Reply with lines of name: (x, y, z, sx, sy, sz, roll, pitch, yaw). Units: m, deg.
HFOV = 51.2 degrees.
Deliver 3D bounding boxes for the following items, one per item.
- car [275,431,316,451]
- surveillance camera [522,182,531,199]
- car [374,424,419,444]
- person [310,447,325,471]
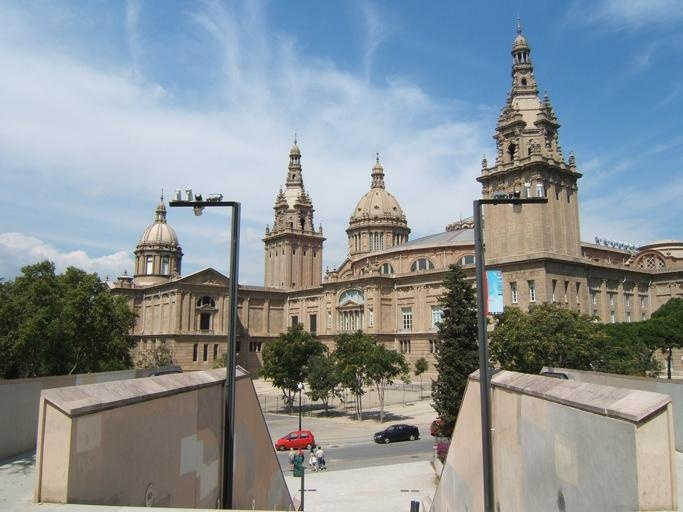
car: (-2.919, 11.967, 45.919, 2.501, 1.181, 1.483, -3, -3, -1)
surveillance camera: (5.442, -1.871, 20.799, 0.197, 0.417, 0.748, -3, -3, 17)
car: (3.633, 12.087, 48.259, 2.688, 1.017, 1.244, 5, -13, -20)
person: (-1.340, 11.417, 40.171, 0.788, 1.291, 1.844, -3, -3, 7)
